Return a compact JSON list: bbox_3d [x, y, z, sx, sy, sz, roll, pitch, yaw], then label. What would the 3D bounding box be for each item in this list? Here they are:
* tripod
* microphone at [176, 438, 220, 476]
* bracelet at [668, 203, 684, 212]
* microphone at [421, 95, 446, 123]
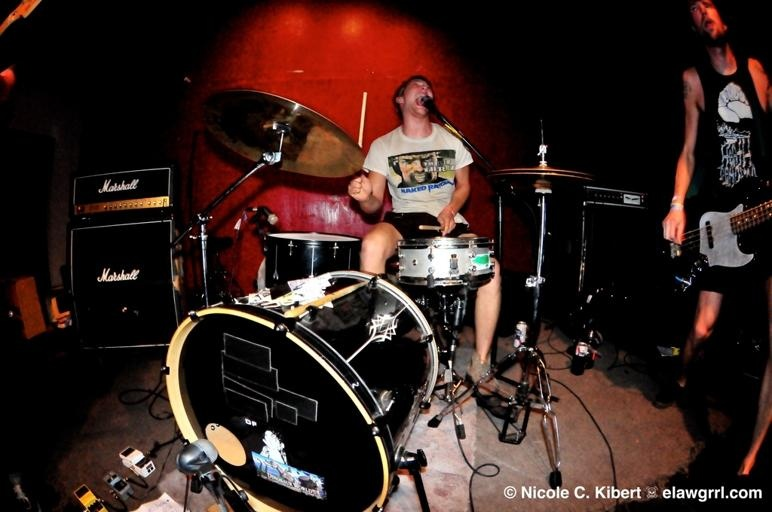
[{"bbox_3d":[1.154,0.638,5.044,0.840,2.039,0.872,2,-1,19],"label":"tripod"},{"bbox_3d":[-1.287,1.379,4.030,0.216,0.214,0.273,-18,-5,-9],"label":"microphone"},{"bbox_3d":[2.498,-0.421,4.982,0.109,0.030,0.107,4,-2,2],"label":"bracelet"},{"bbox_3d":[0.416,-1.300,5.095,0.221,0.245,0.316,2,-1,2],"label":"microphone"}]
